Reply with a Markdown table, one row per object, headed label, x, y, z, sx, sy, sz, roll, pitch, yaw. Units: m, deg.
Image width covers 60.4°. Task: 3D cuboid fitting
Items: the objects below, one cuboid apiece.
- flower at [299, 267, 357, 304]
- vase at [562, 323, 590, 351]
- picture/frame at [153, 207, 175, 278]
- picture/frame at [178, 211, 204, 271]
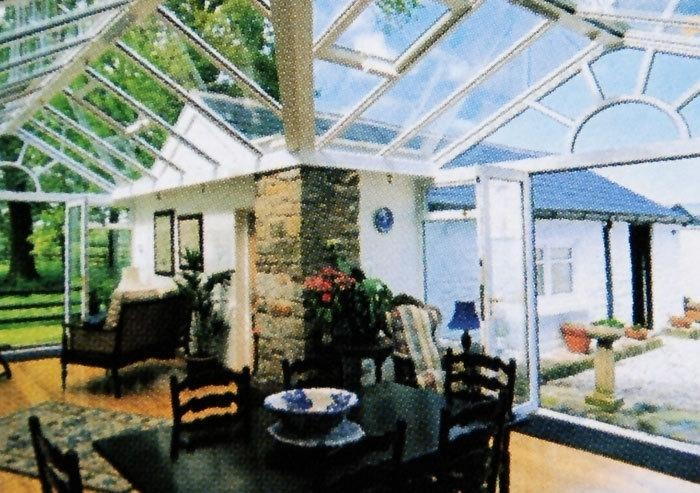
| label | x | y | z | sx | sy | sz | roll | pitch | yaw |
| --- | --- | --- | --- | --- | --- | --- | --- | --- | --- |
| flower | -0.253 | 0.379 | 6.831 | 0.442 | 0.332 | 0.440 | -5 | 5 | -33 |
| vase | 3.667 | 1.515 | 9.752 | 0.384 | 0.451 | 0.459 | 0 | -1 | 2 |
| picture/frame | -3.037 | -0.076 | 9.843 | 0.119 | 1.482 | 1.027 | 3 | -5 | -39 |
| picture/frame | -2.413 | -0.083 | 9.162 | 0.098 | 1.018 | 0.855 | -2 | 0 | -38 |
